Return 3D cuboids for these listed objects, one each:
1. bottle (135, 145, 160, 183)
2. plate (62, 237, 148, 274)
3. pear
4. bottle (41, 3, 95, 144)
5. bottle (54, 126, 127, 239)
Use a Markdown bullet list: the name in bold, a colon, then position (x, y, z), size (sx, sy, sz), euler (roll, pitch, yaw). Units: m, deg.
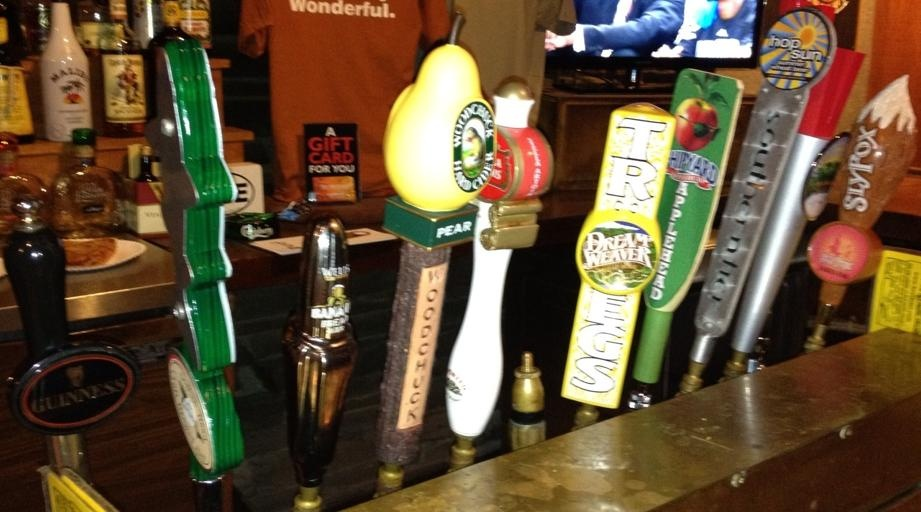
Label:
- **bottle**: position (-0.920, -0.266, 1.831), size (0.068, 0.088, 0.158), euler (-11, 24, -26)
- **plate**: position (-0.863, 0.004, 1.552), size (0.135, 0.019, 0.116), euler (-12, 31, -28)
- **pear**: position (-0.025, -0.160, 0.800), size (0.143, 0.201, 0.093), euler (2, 24, 1)
- **bottle**: position (-1.150, -0.528, 1.804), size (0.151, 0.378, 0.161), euler (1, 25, 0)
- **bottle**: position (-1.062, -0.213, 1.768), size (0.179, 0.333, 0.323), euler (-12, 26, -26)
